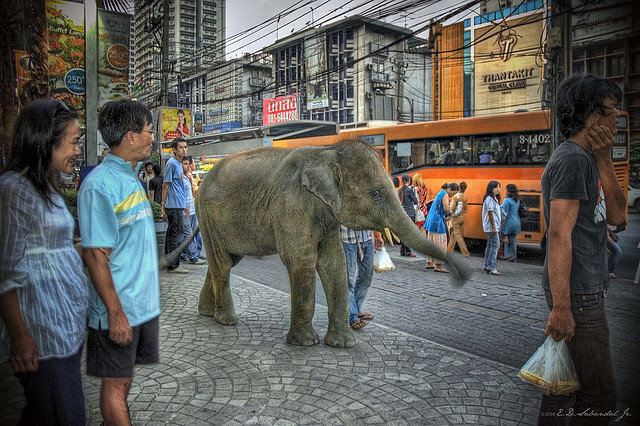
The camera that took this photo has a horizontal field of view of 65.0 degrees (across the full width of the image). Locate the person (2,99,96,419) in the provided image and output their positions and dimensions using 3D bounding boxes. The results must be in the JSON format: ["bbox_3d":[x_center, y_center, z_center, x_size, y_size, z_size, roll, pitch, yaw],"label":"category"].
[{"bbox_3d":[-2.065,0.363,3.788,0.541,2.406,0.522,-3,9,-19],"label":"person"}]

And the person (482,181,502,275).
[{"bbox_3d":[3.727,0.300,10.844,0.406,1.912,1.134,2,9,18],"label":"person"}]

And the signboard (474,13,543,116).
[{"bbox_3d":[12.785,-9.382,33.974,0.737,8.064,5.772,-10,12,-30],"label":"signboard"}]

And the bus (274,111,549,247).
[{"bbox_3d":[3.042,-1.032,14.518,9.391,2.617,2.174,-8,-7,-35],"label":"bus"}]

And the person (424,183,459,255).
[{"bbox_3d":[2.732,0.033,11.340,0.594,1.566,0.519,16,33,24],"label":"person"}]

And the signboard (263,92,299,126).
[{"bbox_3d":[-4.032,-10.857,52.706,1.078,2.830,6.253,-6,11,-31],"label":"signboard"}]

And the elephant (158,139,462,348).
[{"bbox_3d":[-0.422,0.334,6.612,4.195,2.621,1.151,4,11,21],"label":"elephant"}]

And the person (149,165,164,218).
[{"bbox_3d":[-3.704,-0.610,11.586,0.315,0.282,1.048,1,51,-28],"label":"person"}]

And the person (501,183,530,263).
[{"bbox_3d":[4.578,0.272,11.854,0.547,1.917,1.153,3,9,24],"label":"person"}]

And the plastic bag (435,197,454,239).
[{"bbox_3d":[3.099,0.155,12.015,0.352,0.710,0.505,-22,-4,29],"label":"plastic bag"}]
